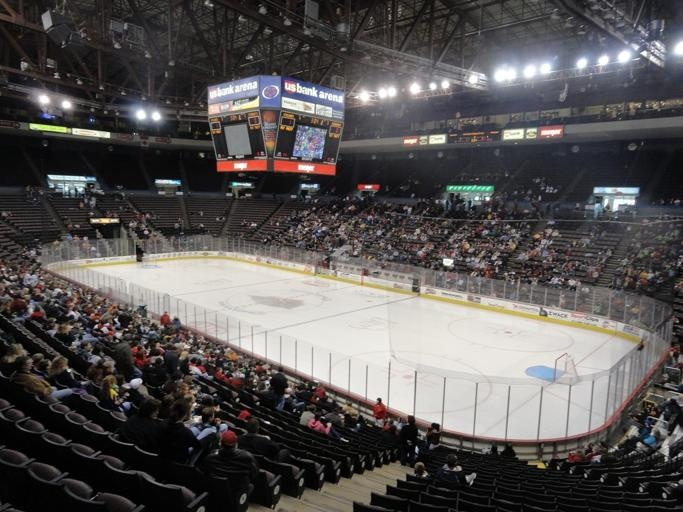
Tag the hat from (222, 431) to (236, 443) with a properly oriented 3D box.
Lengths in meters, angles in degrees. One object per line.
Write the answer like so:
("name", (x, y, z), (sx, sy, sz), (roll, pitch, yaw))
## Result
("hat", (-2.099, 3.367, 9.647), (0.258, 0.242, 0.161), (5, 0, -15))
